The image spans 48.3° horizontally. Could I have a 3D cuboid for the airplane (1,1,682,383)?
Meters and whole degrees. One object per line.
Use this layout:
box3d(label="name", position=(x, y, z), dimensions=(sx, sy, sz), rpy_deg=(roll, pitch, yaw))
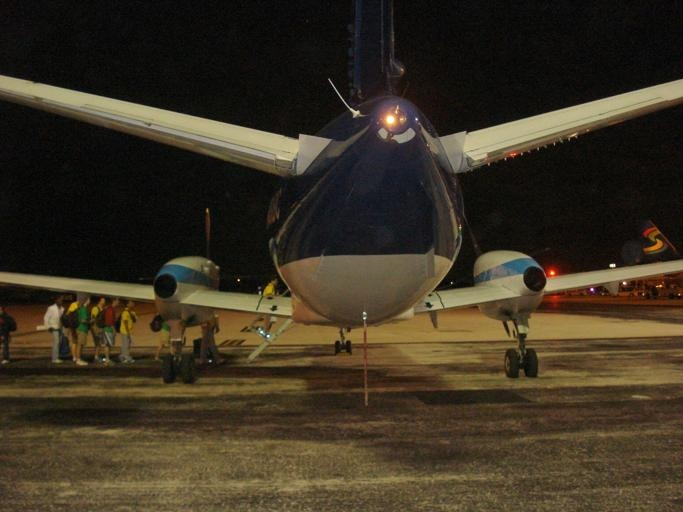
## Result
box3d(label="airplane", position=(0.265, -1.008, 15.761), dimensions=(10.940, 3.519, 9.235), rpy_deg=(-1, -9, -1))

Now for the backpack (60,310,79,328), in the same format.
box3d(label="backpack", position=(-7.141, 1.742, 20.008), dimensions=(0.434, 0.541, 0.557), rpy_deg=(1, 2, 2))

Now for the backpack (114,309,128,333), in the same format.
box3d(label="backpack", position=(-5.884, 1.788, 20.364), dimensions=(0.442, 0.705, 0.641), rpy_deg=(-3, 11, -18))
